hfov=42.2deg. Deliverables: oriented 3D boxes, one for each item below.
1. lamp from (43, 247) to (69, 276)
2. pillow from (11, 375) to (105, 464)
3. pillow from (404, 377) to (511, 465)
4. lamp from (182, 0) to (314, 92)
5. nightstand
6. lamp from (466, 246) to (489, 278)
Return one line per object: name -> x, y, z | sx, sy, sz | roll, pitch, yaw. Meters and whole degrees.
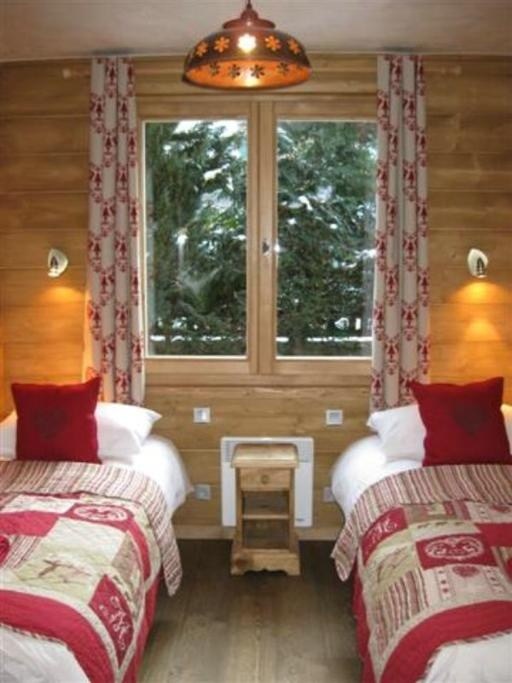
lamp -> -0.983, -0.398, 3.286 | 0.115, 0.132, 0.056 | 11, 15, -10
pillow -> -0.824, 0.344, 2.778 | 0.359, 0.321, 0.123 | -1, -25, -5
pillow -> 0.835, 0.345, 2.753 | 0.354, 0.320, 0.116 | -2, -25, 2
lamp -> -0.030, -0.894, 1.943 | 0.377, 0.248, 0.394 | 1, 9, 3
nightstand -> 0.046, 0.754, 3.040 | 0.305, 0.508, 0.406 | 1, 9, 0
lamp -> 1.072, -0.383, 3.216 | 0.103, 0.138, 0.044 | -10, -12, 28
